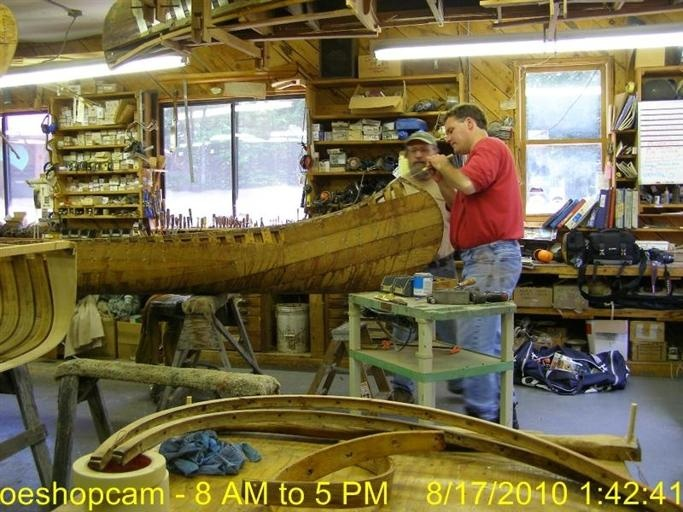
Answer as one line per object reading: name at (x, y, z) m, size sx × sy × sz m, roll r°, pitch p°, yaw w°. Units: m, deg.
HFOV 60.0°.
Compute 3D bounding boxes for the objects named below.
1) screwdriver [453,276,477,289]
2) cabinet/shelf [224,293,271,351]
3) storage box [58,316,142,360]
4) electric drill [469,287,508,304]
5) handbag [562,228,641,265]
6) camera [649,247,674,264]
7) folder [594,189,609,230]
screwdriver at (0.689, 0.150, 3.282) m, size 0.108 × 0.055 × 0.046 m, roll -10°, pitch -34°, yaw 1°
cabinet/shelf at (-0.829, 0.659, 5.941) m, size 0.372 × 0.580 × 0.212 m, roll -6°, pitch 10°, yaw -25°
storage box at (-2.250, 0.815, 5.645) m, size 0.568 × 0.273 × 0.523 m, roll 1°, pitch 1°, yaw 10°
electric drill at (0.802, 0.204, 3.192) m, size 0.156 × 0.084 × 0.271 m, roll 3°, pitch 8°, yaw 28°
handbag at (2.321, -0.073, 5.285) m, size 0.521 × 0.190 × 0.417 m, roll 1°, pitch 4°, yaw 17°
camera at (2.840, -0.003, 5.263) m, size 0.208 × 0.122 × 0.226 m, roll 1°, pitch 8°, yaw 18°
folder at (2.460, -0.441, 5.578) m, size 0.134 × 0.367 × 0.079 m, roll 0°, pitch 9°, yaw 15°
